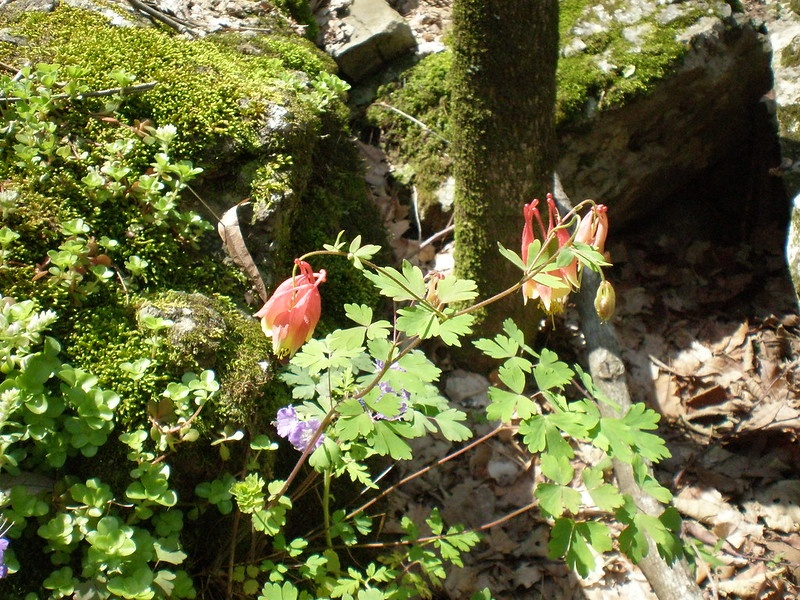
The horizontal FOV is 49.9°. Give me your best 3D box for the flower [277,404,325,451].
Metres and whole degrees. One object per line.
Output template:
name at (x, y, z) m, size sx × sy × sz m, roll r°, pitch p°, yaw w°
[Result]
flower at (-0.617, 0.776, 5.199) m, size 0.245 × 0.245 × 0.171 m, roll 10°, pitch 35°, yaw 33°
